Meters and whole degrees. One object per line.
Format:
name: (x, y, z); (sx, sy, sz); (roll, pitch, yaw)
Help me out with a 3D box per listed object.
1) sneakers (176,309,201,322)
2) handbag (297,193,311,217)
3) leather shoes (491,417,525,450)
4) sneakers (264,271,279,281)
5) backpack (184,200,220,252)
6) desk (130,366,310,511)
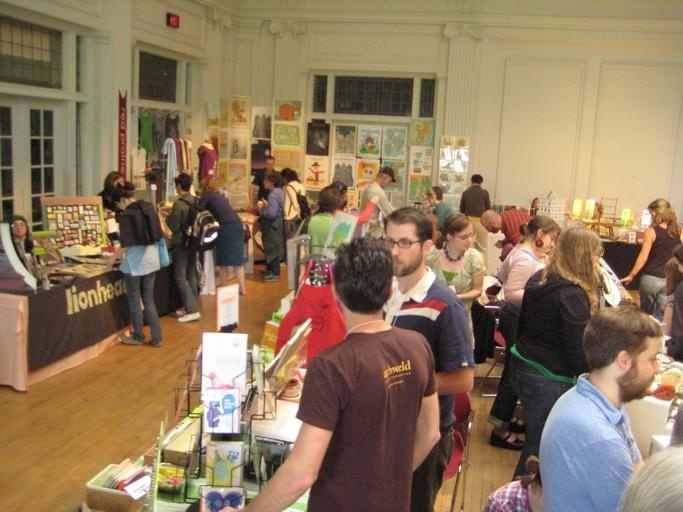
sneakers: (-2.023, 0.791, 7.178); (0.320, 0.145, 0.127); (1, 0, 5)
handbag: (-0.671, -0.918, 9.776); (0.137, 0.419, 0.283); (-11, 16, -14)
leather shoes: (1.475, 1.582, 4.747); (0.261, 0.099, 0.278); (-7, 3, 11)
sneakers: (-1.216, 0.336, 9.379); (0.264, 0.140, 0.129); (4, 3, 0)
backpack: (-1.838, -0.391, 7.090); (0.319, 0.603, 0.392); (13, 20, 28)
desk: (-0.585, 0.906, 2.654); (0.602, 0.224, 0.915); (3, 46, -2)
